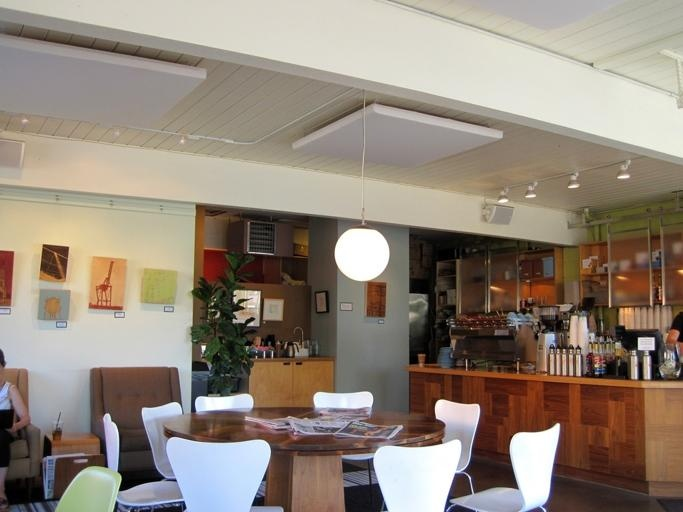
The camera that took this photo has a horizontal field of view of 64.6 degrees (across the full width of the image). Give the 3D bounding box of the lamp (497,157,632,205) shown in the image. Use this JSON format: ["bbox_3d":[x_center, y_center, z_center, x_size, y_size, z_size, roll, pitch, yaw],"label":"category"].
[{"bbox_3d":[3.116,-0.984,7.740,1.016,0.287,2.292,5,-8,-28],"label":"lamp"}]

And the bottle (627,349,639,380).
[{"bbox_3d":[3.067,1.131,5.661,0.106,0.293,0.077,-3,-8,27],"label":"bottle"}]

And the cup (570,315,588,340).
[{"bbox_3d":[2.789,0.836,6.358,0.199,0.296,0.182,1,-7,0],"label":"cup"}]

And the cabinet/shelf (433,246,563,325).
[{"bbox_3d":[2.917,0.516,9.782,1.451,1.317,0.426,-6,-12,39],"label":"cabinet/shelf"}]

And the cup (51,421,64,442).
[{"bbox_3d":[-2.957,1.831,5.632,0.146,0.205,0.143,-1,-6,0],"label":"cup"}]

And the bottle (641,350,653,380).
[{"bbox_3d":[3.190,1.129,5.631,0.127,0.287,0.065,1,-7,-3],"label":"bottle"}]

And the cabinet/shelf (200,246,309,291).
[{"bbox_3d":[-1.452,0.182,9.358,1.776,0.569,0.457,4,-8,-23],"label":"cabinet/shelf"}]

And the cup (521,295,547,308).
[{"bbox_3d":[3.540,0.818,9.787,0.367,0.225,0.551,5,-8,-28],"label":"cup"}]

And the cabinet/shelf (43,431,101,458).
[{"bbox_3d":[-2.839,2.004,5.723,0.515,0.239,0.927,5,-8,-30],"label":"cabinet/shelf"}]

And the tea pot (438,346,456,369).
[{"bbox_3d":[1.485,1.456,7.691,0.256,0.253,0.248,1,-7,0],"label":"tea pot"}]

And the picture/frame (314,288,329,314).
[{"bbox_3d":[-0.299,0.701,8.448,0.084,0.358,0.415,-1,-3,-31],"label":"picture/frame"}]

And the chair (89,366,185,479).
[{"bbox_3d":[-2.213,1.896,6.038,1.045,1.293,0.987,8,-15,-39],"label":"chair"}]

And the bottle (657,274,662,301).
[{"bbox_3d":[4.982,0.510,8.435,0.039,0.387,0.170,-1,-7,16],"label":"bottle"}]

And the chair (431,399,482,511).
[{"bbox_3d":[0.973,1.512,4.348,0.418,0.565,0.377,-8,17,-26],"label":"chair"}]

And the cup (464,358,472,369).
[{"bbox_3d":[1.706,1.432,7.219,0.091,0.148,0.108,-2,-8,21],"label":"cup"}]
